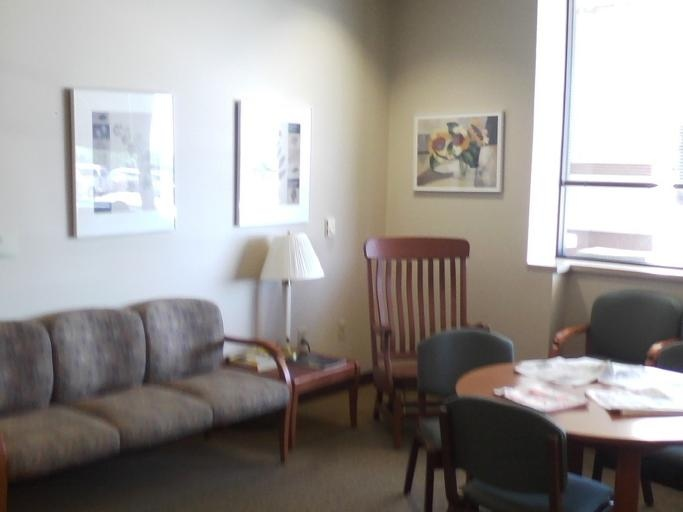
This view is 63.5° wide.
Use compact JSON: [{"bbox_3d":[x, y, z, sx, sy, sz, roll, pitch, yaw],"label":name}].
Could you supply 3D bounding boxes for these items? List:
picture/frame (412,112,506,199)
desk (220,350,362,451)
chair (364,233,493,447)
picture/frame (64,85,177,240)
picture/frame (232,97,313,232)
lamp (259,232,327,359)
[{"bbox_3d":[0.983,-0.821,4.493,0.665,0.602,0.024,2,5,35],"label":"picture/frame"},{"bbox_3d":[-0.245,0.789,3.725,0.805,0.462,0.586,2,1,42],"label":"desk"},{"bbox_3d":[0.599,0.585,3.914,0.954,1.385,0.907,-2,1,-40],"label":"chair"},{"bbox_3d":[-1.335,-0.558,3.251,0.845,1.180,0.078,-2,3,-43],"label":"picture/frame"},{"bbox_3d":[-0.523,-0.667,3.973,0.087,1.180,0.908,8,7,44],"label":"picture/frame"},{"bbox_3d":[-0.397,0.285,4.001,0.476,0.946,0.457,4,5,-40],"label":"lamp"}]
